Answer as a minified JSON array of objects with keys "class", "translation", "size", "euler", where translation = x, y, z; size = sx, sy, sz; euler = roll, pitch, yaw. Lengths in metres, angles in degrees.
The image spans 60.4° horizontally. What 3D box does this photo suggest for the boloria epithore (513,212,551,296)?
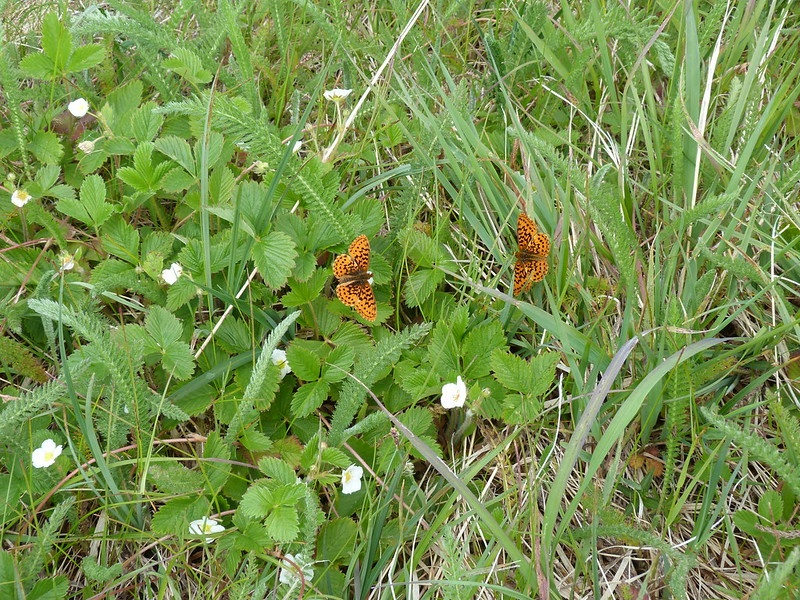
[{"class":"boloria epithore","translation":[0.507,-0.169,2.696],"size":[0.125,0.335,0.078],"euler":[3,26,4]}]
